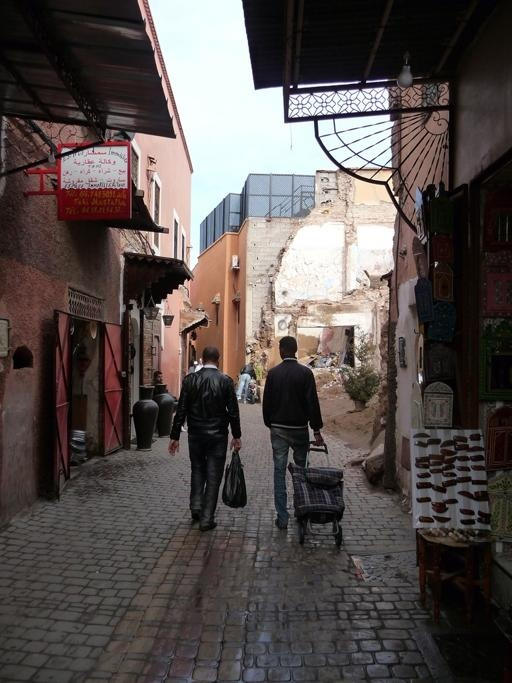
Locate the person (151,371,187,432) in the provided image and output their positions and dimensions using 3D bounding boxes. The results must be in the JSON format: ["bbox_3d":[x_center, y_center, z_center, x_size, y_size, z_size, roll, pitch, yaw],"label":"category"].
[{"bbox_3d":[-2.019,1.410,12.237,0.440,1.148,0.552,-7,-2,16],"label":"person"}]

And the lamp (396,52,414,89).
[{"bbox_3d":[1.130,-2.023,4.303,0.113,0.317,0.337,-1,-3,16],"label":"lamp"}]

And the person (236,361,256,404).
[{"bbox_3d":[-0.362,1.771,24.881,0.694,1.780,0.921,11,14,-17],"label":"person"}]

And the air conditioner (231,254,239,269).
[{"bbox_3d":[-1.273,-5.096,36.014,0.401,1.069,1.814,1,-3,-6],"label":"air conditioner"}]

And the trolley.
[{"bbox_3d":[0.551,1.359,5.221,0.446,0.910,1.107,0,-9,6],"label":"trolley"}]

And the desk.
[{"bbox_3d":[1.205,1.378,3.476,0.463,0.479,0.684,-1,-3,24],"label":"desk"}]

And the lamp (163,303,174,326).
[{"bbox_3d":[-2.965,-0.980,19.078,0.349,0.931,2.453,1,-3,-9],"label":"lamp"}]

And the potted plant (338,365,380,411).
[{"bbox_3d":[2.908,1.200,15.463,1.010,1.196,0.585,-2,-4,30],"label":"potted plant"}]

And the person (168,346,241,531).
[{"bbox_3d":[-0.490,0.880,5.475,0.668,1.698,0.486,0,-3,-2],"label":"person"}]
